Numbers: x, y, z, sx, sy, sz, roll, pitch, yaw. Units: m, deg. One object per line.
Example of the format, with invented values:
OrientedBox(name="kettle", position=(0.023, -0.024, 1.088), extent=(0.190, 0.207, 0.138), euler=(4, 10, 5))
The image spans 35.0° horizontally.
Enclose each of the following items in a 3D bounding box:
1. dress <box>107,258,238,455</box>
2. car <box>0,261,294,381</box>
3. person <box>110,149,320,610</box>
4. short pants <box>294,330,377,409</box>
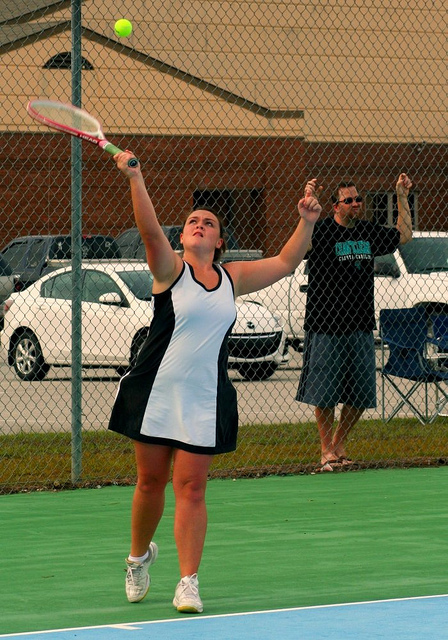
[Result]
OrientedBox(name="dress", position=(-0.176, 0.128, 2.451), extent=(0.431, 0.649, 0.241), euler=(0, -5, -8))
OrientedBox(name="car", position=(-1.328, 0.005, 11.499), extent=(4.416, 1.535, 2.040), euler=(-1, 0, 24))
OrientedBox(name="person", position=(-0.118, 0.242, 2.532), extent=(0.409, 1.483, 0.860), euler=(-5, -7, 44))
OrientedBox(name="short pants", position=(0.906, 0.395, 5.775), extent=(0.626, 0.639, 0.273), euler=(-1, -5, 8))
